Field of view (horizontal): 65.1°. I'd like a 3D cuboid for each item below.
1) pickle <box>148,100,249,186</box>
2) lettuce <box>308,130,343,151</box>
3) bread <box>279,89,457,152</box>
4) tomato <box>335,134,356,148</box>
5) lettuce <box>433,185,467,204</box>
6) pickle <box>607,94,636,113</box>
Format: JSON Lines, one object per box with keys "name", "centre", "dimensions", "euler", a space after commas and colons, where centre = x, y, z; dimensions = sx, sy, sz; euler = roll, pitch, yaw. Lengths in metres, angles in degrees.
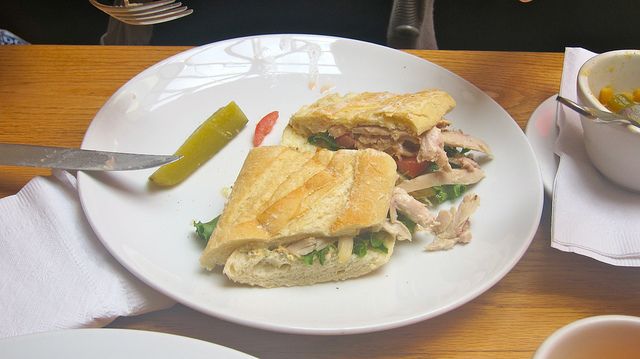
{"name": "pickle", "centre": [-0.948, -0.289, 3.911], "dimensions": [0.353, 0.191, 0.950], "euler": [28, 56, 14]}
{"name": "lettuce", "centre": [0.038, -0.306, 3.942], "dimensions": [0.194, 0.056, 0.178], "euler": [-33, 66, -32]}
{"name": "bread", "centre": [0.358, -0.535, 3.860], "dimensions": [0.999, 0.267, 0.630], "euler": [4, 36, 16]}
{"name": "tomato", "centre": [0.191, -0.303, 3.927], "dimensions": [0.117, 0.110, 0.077], "euler": [17, 62, -18]}
{"name": "lettuce", "centre": [0.942, 0.100, 3.634], "dimensions": [0.152, 0.060, 0.137], "euler": [12, 65, 17]}
{"name": "pickle", "centre": [2.136, -0.558, 3.546], "dimensions": [0.157, 0.043, 0.129], "euler": [-13, 51, -8]}
